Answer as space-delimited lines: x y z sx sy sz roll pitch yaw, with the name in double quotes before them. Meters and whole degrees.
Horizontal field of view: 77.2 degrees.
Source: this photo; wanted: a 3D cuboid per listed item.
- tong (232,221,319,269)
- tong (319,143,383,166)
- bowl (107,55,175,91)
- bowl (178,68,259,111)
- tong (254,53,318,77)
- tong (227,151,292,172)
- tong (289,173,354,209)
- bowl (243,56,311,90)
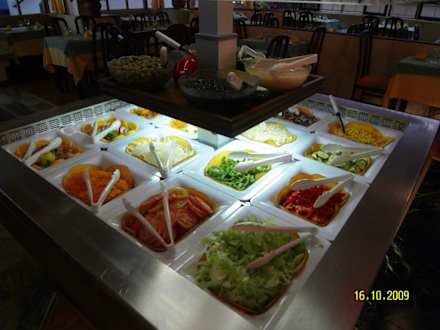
"tong" 0.215 0.280 0.993 0.256 0.048 0.145 -12 35 -11
"tong" 0.726 -0.073 1.488 0.238 0.053 0.131 -9 29 -9
"bowl" -0.331 -0.380 1.140 0.255 0.117 0.135 11 30 16
"bowl" -0.018 -0.271 0.967 0.217 0.062 0.204 1 31 0
"tong" 0.255 -0.438 1.145 0.235 0.064 0.247 -5 29 -12
"tong" 0.214 -0.031 1.400 0.269 0.053 0.130 -3 27 -8
"tong" 0.469 0.092 1.282 0.297 0.088 0.166 -21 36 -35
"bowl" 0.215 -0.401 1.105 0.190 0.073 0.190 0 28 0
